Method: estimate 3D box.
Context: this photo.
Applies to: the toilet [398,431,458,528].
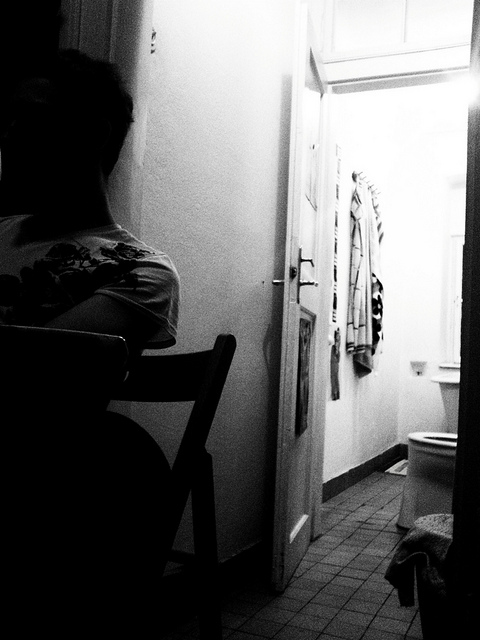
[{"bbox_3d":[0.959,0.835,2.759,0.190,0.452,0.319,5,-6,-39],"label":"toilet"}]
